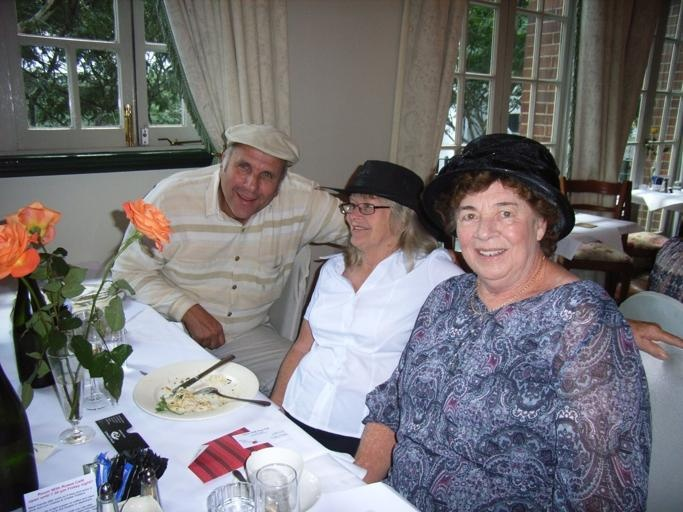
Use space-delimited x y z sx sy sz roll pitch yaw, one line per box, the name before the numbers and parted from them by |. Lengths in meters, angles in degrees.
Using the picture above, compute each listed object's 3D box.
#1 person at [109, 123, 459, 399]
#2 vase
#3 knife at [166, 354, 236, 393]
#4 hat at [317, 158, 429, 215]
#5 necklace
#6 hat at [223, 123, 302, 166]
person | -0.417 0.024 2.465 1.278 1.291 0.675 -4 31 -25
vase | -0.699 0.359 1.292 0.106 0.234 0.101 -7 3 -35
knife | -0.433 0.364 1.537 0.021 0.015 0.163 24 37 32
hat | 0.171 -0.277 1.987 0.262 0.096 0.225 24 -1 -10
necklace | 0.474 0.073 1.465 0.197 0.107 0.151 -20 21 -41
hat | -0.354 -0.543 2.405 0.334 0.114 0.358 17 -1 10
